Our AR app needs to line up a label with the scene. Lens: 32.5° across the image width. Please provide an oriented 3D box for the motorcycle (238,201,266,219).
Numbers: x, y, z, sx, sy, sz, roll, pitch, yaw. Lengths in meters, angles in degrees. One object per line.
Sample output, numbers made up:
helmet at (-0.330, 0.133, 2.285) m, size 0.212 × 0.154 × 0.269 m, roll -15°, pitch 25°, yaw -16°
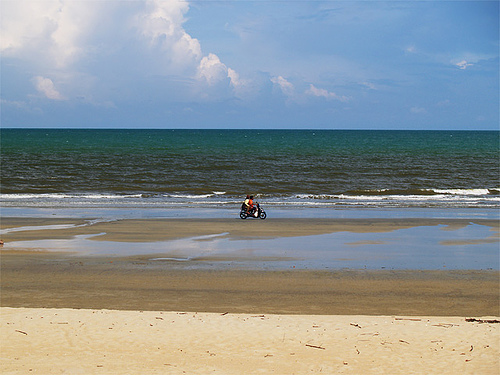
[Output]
motorcycle at (0.110, 1.510, 52.230) m, size 1.635 × 0.726 × 0.734 m, roll -3°, pitch 8°, yaw 5°
